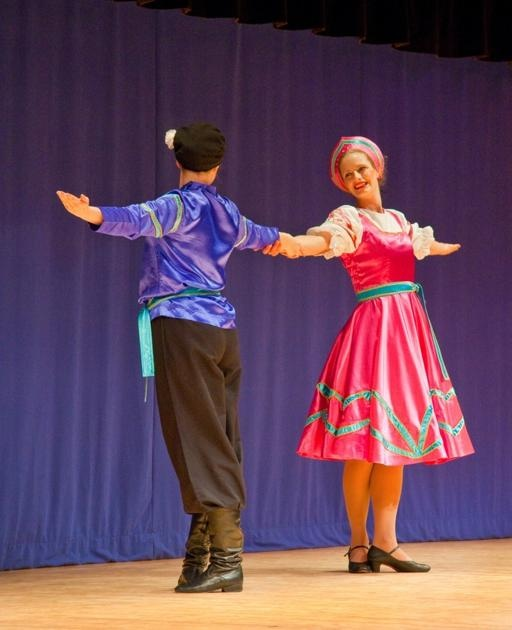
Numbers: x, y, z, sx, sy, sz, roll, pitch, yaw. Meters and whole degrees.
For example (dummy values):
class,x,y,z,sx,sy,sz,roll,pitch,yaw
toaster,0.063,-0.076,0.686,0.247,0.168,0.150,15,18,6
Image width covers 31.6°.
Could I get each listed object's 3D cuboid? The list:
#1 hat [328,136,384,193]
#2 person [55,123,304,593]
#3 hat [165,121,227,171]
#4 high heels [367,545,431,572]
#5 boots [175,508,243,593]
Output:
class,x,y,z,sx,sy,sz,roll,pitch,yaw
hat,0.350,-0.531,3.145,0.202,0.200,0.082,-21,13,9
person,-0.206,0.175,2.439,0.431,1.074,0.608,4,6,11
hat,-0.155,-0.480,2.528,0.166,0.079,0.130,22,40,40
high heels,0.477,0.767,2.861,0.244,0.099,0.069,3,-8,-4
boots,-0.119,0.612,2.353,0.166,0.221,0.101,3,6,-2
